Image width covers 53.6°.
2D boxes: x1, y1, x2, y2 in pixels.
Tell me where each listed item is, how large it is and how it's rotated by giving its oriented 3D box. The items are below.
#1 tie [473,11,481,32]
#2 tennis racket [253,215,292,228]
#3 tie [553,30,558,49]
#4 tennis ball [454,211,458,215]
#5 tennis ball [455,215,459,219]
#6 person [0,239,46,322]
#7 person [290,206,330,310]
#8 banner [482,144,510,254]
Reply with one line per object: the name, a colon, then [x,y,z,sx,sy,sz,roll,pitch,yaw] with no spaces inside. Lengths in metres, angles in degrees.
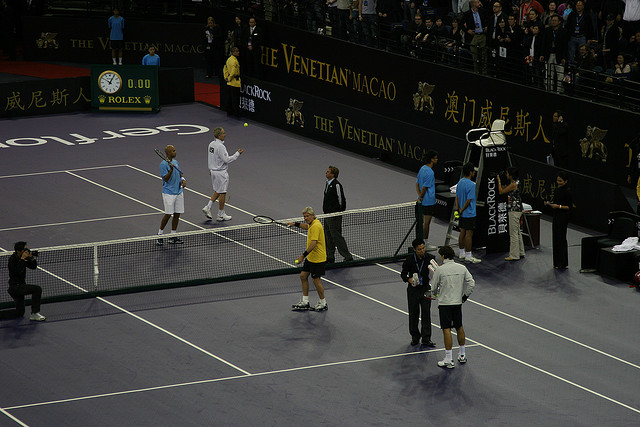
tie: [5.915,-7.326,23.872,0.112,0.808,0.143,-12,-2,-16]
tennis racket: [-1.348,0.213,17.616,0.692,0.036,0.280,13,47,32]
tie: [7.882,-5.860,21.184,0.096,0.591,0.163,-7,15,-34]
tennis ball: [3.836,-0.030,17.818,0.080,0.140,0.076,-7,8,1]
tennis ball: [3.858,0.070,17.873,0.124,0.084,0.030,7,4,40]
person: [-6.832,1.516,14.583,0.992,1.812,0.784,0,13,-9]
person: [-0.170,1.031,14.996,0.854,2.486,1.475,2,13,-1]
banner: [4.964,-0.399,17.854,0.927,3.063,0.485,-2,14,-19]
